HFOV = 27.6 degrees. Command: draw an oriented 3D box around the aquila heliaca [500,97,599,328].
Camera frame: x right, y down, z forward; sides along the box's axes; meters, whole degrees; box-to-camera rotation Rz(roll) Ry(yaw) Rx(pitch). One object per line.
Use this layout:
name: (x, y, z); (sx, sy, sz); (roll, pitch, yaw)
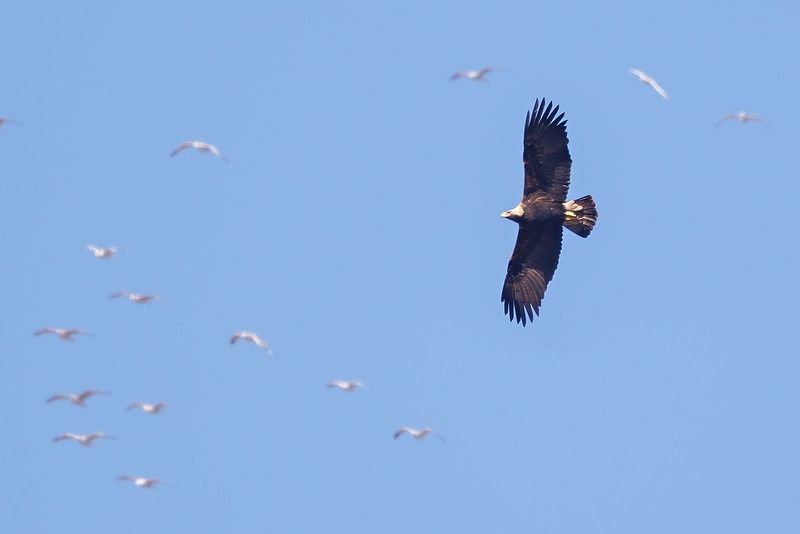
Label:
aquila heliaca: (3.629, -1.290, 39.412); (2.296, 0.868, 5.600); (-3, -67, -19)
